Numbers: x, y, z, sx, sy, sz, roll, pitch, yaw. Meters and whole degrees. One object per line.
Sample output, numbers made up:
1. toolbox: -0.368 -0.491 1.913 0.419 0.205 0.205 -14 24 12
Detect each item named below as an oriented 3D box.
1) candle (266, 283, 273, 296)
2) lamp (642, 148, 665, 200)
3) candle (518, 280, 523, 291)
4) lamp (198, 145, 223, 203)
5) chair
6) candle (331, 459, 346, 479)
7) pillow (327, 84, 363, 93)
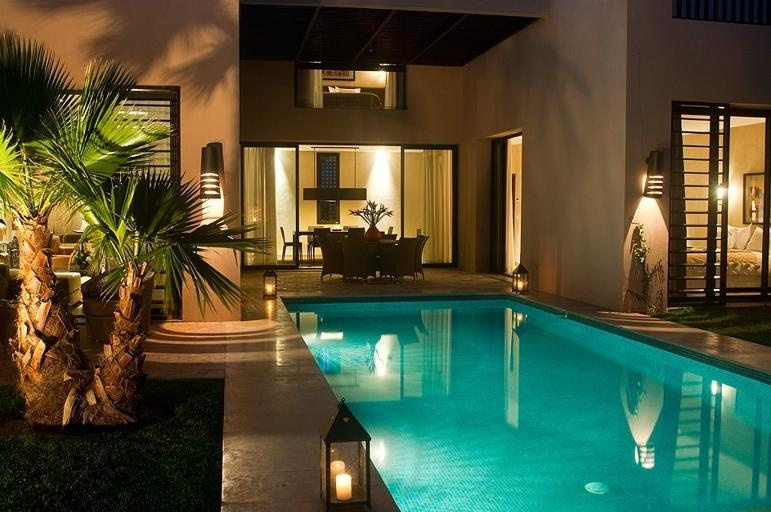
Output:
1. candle: -2.055 0.605 10.427 0.162 0.313 0.164 1 -3 -14
2. lamp: 4.087 -1.256 9.082 0.276 0.696 0.211 2 6 23
3. candle: 2.521 0.568 11.099 0.128 0.191 0.043 -3 6 -27
4. lamp: -2.471 -1.221 8.429 0.326 0.826 0.460 -2 6 -17
5. chair: -0.304 0.010 12.749 2.278 1.064 1.526 1 6 8
6. candle: -0.306 1.357 3.769 0.096 0.076 0.102 2 2 13
7. pillow: -1.022 -4.090 14.521 0.811 0.177 0.076 -1 5 -7
